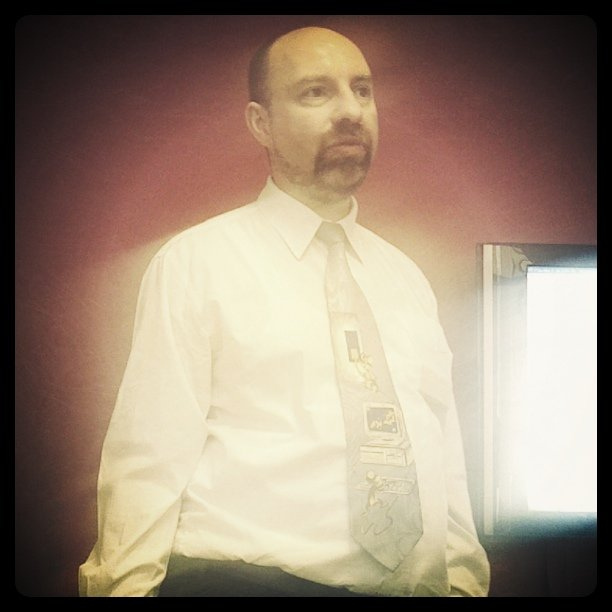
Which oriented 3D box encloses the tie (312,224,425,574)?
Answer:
[{"bbox_3d":[0.165,0.198,2.614,0.239,1.274,0.082,-2,40,17],"label":"tie"}]
